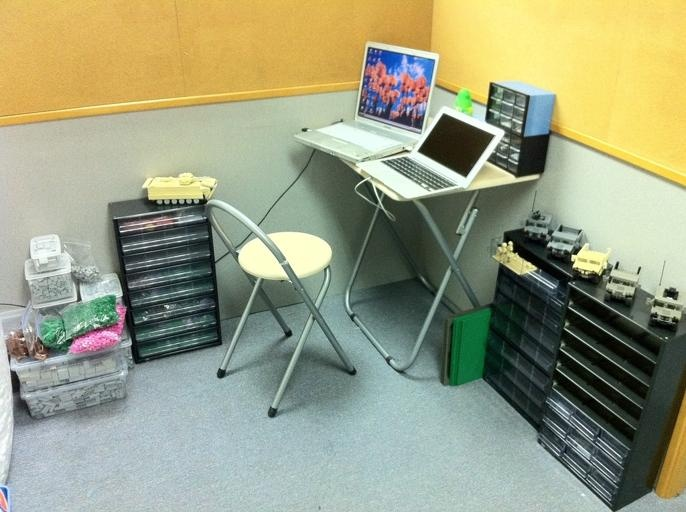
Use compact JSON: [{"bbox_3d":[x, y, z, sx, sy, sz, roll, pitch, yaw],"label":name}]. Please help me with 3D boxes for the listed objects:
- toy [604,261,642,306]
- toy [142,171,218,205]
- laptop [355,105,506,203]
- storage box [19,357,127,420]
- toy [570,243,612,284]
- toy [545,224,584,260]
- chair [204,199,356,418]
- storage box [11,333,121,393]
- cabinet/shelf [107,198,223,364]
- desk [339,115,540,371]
[{"bbox_3d":[1.080,0.086,2.010,0.114,0.081,0.168,16,52,31],"label":"toy"},{"bbox_3d":[-0.835,-0.352,2.646,0.299,0.097,0.186,-3,24,-12],"label":"toy"},{"bbox_3d":[0.395,-0.416,2.346,0.528,0.254,0.514,-19,43,-25],"label":"laptop"},{"bbox_3d":[-1.283,0.668,2.503,0.408,0.147,0.283,-13,34,-25],"label":"storage box"},{"bbox_3d":[1.002,0.005,2.107,0.130,0.077,0.163,19,43,32],"label":"toy"},{"bbox_3d":[0.947,-0.065,2.216,0.123,0.080,0.169,20,45,30],"label":"toy"},{"bbox_3d":[-0.363,0.284,2.761,0.526,1.001,0.553,30,51,25],"label":"chair"},{"bbox_3d":[-1.288,0.521,2.467,0.363,0.109,0.254,-13,31,-27],"label":"storage box"},{"bbox_3d":[-0.974,0.122,2.836,0.492,0.825,0.300,-13,17,-36],"label":"cabinet/shelf"},{"bbox_3d":[0.496,-0.068,2.686,0.785,1.154,0.773,-17,38,-26],"label":"desk"}]
